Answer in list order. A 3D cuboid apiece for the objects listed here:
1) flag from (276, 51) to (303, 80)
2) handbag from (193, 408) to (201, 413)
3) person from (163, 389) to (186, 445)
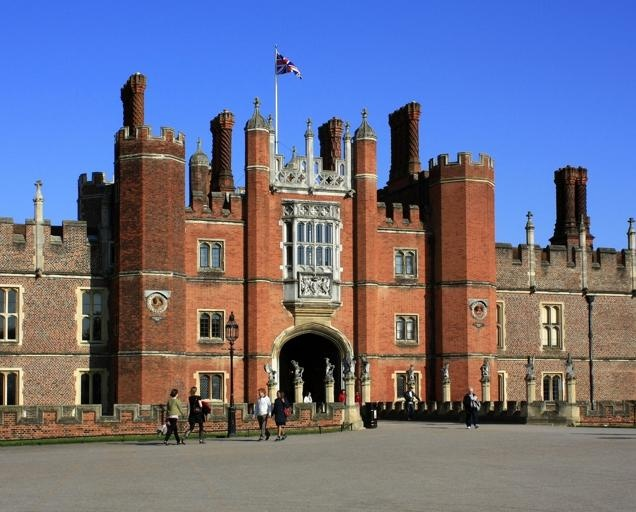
[{"bbox_3d":[-1.377,-8.701,67.952,0.843,1.606,2.984,-1,-8,-6],"label":"flag"},{"bbox_3d":[-3.893,5.004,48.719,0.235,0.191,0.131,2,-11,-16],"label":"handbag"},{"bbox_3d":[-4.577,5.122,47.833,0.559,1.721,1.241,-1,-8,-7],"label":"person"}]
